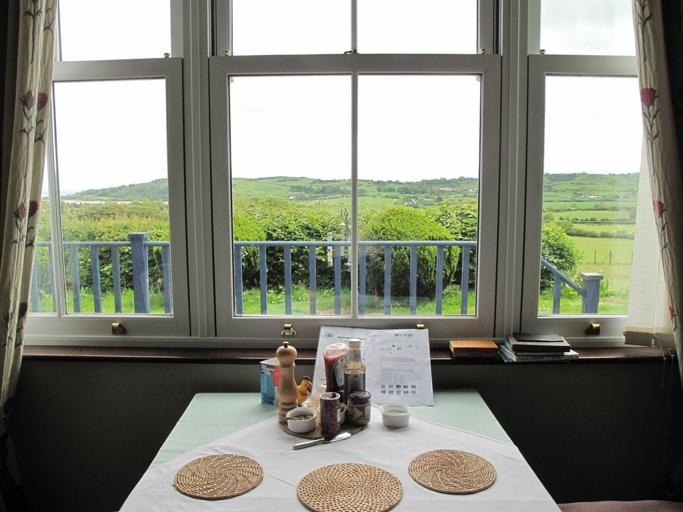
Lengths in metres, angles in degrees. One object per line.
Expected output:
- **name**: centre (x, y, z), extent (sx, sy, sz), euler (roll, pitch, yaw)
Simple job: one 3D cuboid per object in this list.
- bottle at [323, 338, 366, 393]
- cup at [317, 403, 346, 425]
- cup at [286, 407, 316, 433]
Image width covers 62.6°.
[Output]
- **bottle**: centre (0.013, 0.386, 1.966), extent (0.136, 0.206, 0.155), euler (-2, 5, 3)
- **cup**: centre (-0.032, 0.518, 1.884), extent (0.076, 0.059, 0.080), euler (0, 5, 0)
- **cup**: centre (-0.134, 0.540, 1.858), extent (0.064, 0.054, 0.085), euler (-1, 7, -2)
